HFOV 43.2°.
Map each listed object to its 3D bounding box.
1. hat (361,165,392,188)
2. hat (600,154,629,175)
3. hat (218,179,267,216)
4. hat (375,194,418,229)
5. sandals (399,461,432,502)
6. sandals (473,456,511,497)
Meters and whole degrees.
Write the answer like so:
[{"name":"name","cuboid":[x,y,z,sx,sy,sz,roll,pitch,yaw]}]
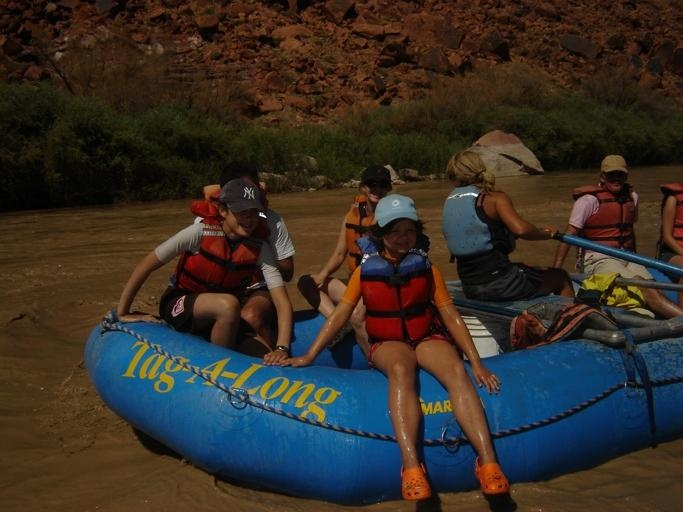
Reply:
[{"name":"hat","cuboid":[0.320,-0.760,8.385,0.285,0.218,0.236,-5,9,0]},{"name":"hat","cuboid":[2.833,-0.945,9.006,0.236,0.144,0.306,1,-9,9]},{"name":"hat","cuboid":[-0.866,-0.554,7.613,0.367,0.222,0.452,-7,27,-31]},{"name":"hat","cuboid":[0.450,-0.403,7.344,0.419,0.238,0.498,-9,8,-10]},{"name":"sandals","cuboid":[0.573,1.771,6.756,0.223,0.154,0.446,-6,11,-2]},{"name":"sandals","cuboid":[1.180,1.737,6.833,0.246,0.141,0.445,-8,15,-8]}]
